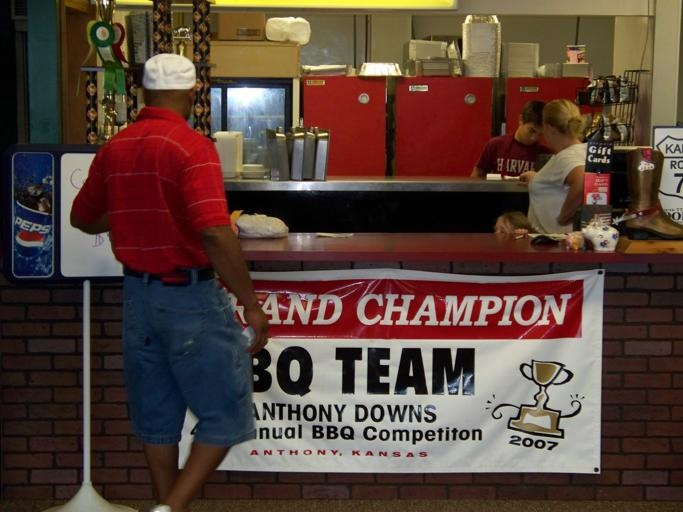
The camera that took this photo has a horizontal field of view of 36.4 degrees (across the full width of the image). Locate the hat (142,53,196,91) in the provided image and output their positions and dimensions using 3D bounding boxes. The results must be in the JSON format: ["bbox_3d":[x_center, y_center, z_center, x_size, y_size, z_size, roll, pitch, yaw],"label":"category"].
[{"bbox_3d":[-0.795,-0.838,4.806,0.184,0.180,0.201,0,16,-1],"label":"hat"}]

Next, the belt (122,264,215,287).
[{"bbox_3d":[-0.774,0.071,4.774,0.272,0.096,0.312,-2,8,-18],"label":"belt"}]

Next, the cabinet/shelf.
[{"bbox_3d":[2.297,-1.233,8.790,0.364,0.526,0.388,5,7,33],"label":"cabinet/shelf"}]
